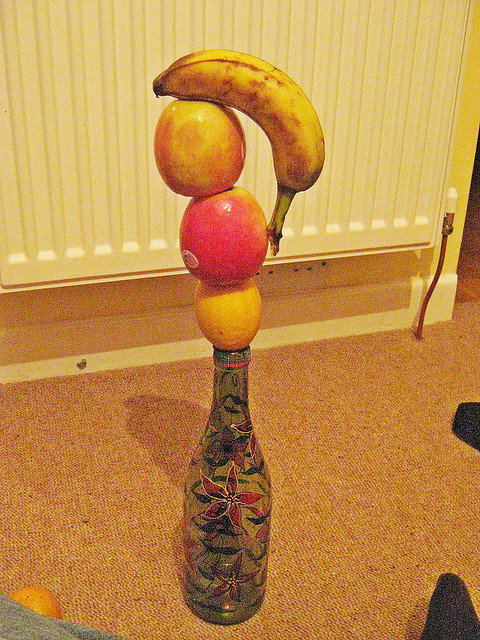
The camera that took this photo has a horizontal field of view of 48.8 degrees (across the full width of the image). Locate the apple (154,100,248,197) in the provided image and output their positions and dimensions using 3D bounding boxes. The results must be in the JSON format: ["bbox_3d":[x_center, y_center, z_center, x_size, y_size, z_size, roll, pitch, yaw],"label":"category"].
[{"bbox_3d":[-0.037,-0.163,0.494,0.088,0.094,0.092,17,30,30],"label":"apple"}]

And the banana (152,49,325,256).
[{"bbox_3d":[0.005,-0.151,0.508,0.141,0.218,0.047,-4,41,4],"label":"banana"}]

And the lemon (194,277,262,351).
[{"bbox_3d":[-0.007,-0.008,0.550,0.060,0.084,0.063,4,2,16],"label":"lemon"}]

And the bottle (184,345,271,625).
[{"bbox_3d":[-0.011,0.212,0.628,0.107,0.398,0.065,2,23,-6],"label":"bottle"}]

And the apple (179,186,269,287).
[{"bbox_3d":[-0.016,-0.087,0.514,0.077,0.100,0.086,4,42,12],"label":"apple"}]
